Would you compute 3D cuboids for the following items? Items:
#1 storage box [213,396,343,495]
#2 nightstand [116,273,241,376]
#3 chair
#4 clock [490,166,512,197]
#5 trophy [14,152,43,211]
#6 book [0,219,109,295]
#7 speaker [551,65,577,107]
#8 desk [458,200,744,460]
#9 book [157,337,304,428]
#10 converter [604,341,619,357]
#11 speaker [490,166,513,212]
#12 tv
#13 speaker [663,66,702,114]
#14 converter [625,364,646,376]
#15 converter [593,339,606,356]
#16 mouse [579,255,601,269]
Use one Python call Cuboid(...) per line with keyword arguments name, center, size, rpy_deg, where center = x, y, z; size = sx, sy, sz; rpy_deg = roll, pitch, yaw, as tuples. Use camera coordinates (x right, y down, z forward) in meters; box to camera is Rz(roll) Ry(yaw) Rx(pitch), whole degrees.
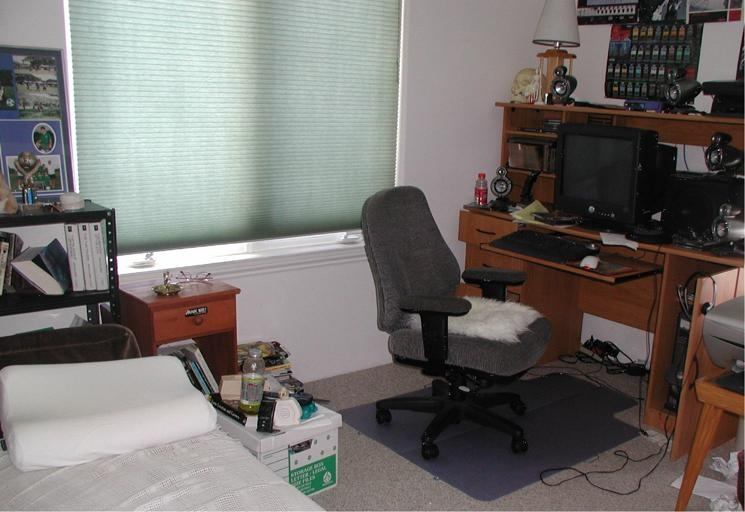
Cuboid(name="storage box", center=(-0.430, 0.877, 2.601), size=(0.490, 0.358, 0.505), rpy_deg=(25, 9, 42))
Cuboid(name="nightstand", center=(-1.031, 0.375, 2.958), size=(0.700, 0.607, 0.522), rpy_deg=(-7, 14, -39))
Cuboid(name="chair", center=(0.469, 0.331, 2.958), size=(0.969, 1.269, 0.952), rpy_deg=(7, 11, 28))
Cuboid(name="clock", center=(0.954, -0.532, 3.910), size=(0.180, 0.227, 0.073), rpy_deg=(0, 0, 29))
Cuboid(name="trophy", center=(-1.617, -0.370, 2.532), size=(0.100, 0.238, 0.179), rpy_deg=(-12, 18, -30))
Cuboid(name="book", center=(-1.472, 0.029, 2.555), size=(0.446, 0.322, 0.166), rpy_deg=(0, -27, -25))
Cuboid(name="speaker", center=(1.317, -1.172, 3.687), size=(0.171, 0.248, 0.166), rpy_deg=(-8, 27, -1))
Cuboid(name="desk", center=(1.323, 0.424, 3.090), size=(0.737, 0.856, 1.363), rpy_deg=(-5, 14, -29))
Cuboid(name="book", center=(-0.761, 0.640, 2.669), size=(0.477, 0.115, 0.522), rpy_deg=(19, 8, 31))
Cuboid(name="converter", center=(1.748, 0.674, 3.918), size=(0.050, 0.111, 0.084), rpy_deg=(-32, 1, 23))
Cuboid(name="speaker", center=(0.932, -0.490, 3.871), size=(0.182, 0.292, 0.179), rpy_deg=(11, 22, 31))
Cuboid(name="tv", center=(1.664, -0.546, 3.490), size=(0.687, 0.650, 0.670), rpy_deg=(-14, 20, -24))
Cuboid(name="speaker", center=(1.834, -1.025, 3.193), size=(0.230, 0.236, 0.182), rpy_deg=(-20, 35, -12))
Cuboid(name="converter", center=(1.841, 0.801, 3.771), size=(0.092, 0.053, 0.088), rpy_deg=(0, 0, -1))
Cuboid(name="converter", center=(1.687, 0.684, 3.964), size=(0.052, 0.113, 0.068), rpy_deg=(-11, 28, -43))
Cuboid(name="mouse", center=(1.217, 0.036, 3.021), size=(0.092, 0.047, 0.117), rpy_deg=(6, 17, 31))
